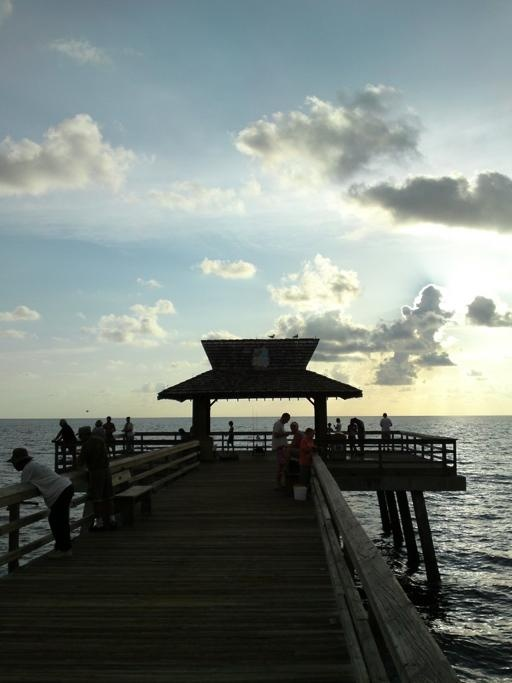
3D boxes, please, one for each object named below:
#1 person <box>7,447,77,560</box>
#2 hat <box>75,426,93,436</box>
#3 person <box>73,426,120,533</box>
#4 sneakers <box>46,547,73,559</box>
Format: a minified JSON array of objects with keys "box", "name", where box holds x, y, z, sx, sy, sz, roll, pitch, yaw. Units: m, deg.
[{"box":[-2.595,1.941,9.069,0.715,1.360,0.702,-1,-1,-13],"name":"person"},{"box":[-2.451,1.270,10.607,0.272,0.108,0.344,-2,-4,-10],"name":"hat"},{"box":[-2.271,1.959,10.555,0.481,1.530,1.002,-1,-1,-12],"name":"person"},{"box":[-2.448,2.626,9.267,0.309,0.116,0.100,8,-10,-14],"name":"sneakers"}]
